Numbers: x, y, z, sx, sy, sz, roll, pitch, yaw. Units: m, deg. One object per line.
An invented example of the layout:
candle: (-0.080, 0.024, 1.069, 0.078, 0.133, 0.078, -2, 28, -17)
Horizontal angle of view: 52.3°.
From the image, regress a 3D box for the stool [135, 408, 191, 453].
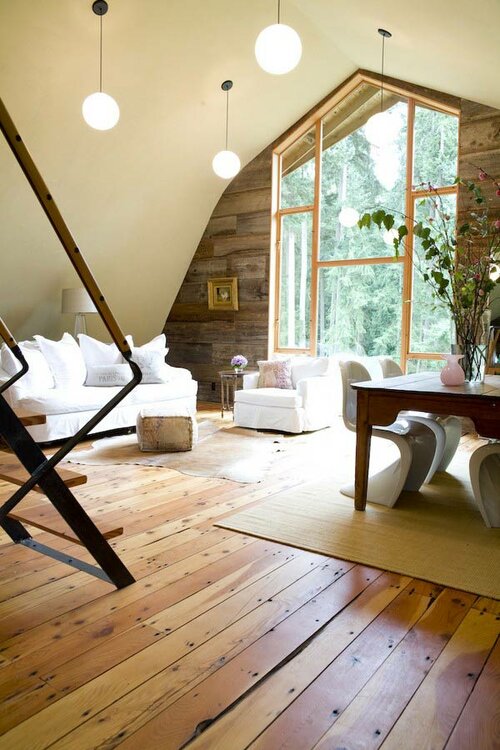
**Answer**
stool: (-0.729, 0.461, 4.316, 0.376, 0.234, 0.376, 1, 1, 18)

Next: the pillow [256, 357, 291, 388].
pillow: (0.279, -0.015, 5.775, 0.394, 0.363, 0.153, 0, -6, 15)

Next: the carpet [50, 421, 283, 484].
carpet: (-0.484, 0.650, 4.421, 1.767, 0.145, 1.602, 1, 9, 20)

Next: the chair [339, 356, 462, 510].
chair: (0.952, 0.399, 3.184, 0.482, 0.795, 0.958, -1, 1, 35)

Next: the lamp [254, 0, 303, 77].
lamp: (0.193, -2.206, 3.419, 0.299, 0.310, 0.255, -2, 9, 2)

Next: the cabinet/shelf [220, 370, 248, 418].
cabinet/shelf: (-0.335, 0.303, 7.339, 0.331, 0.516, 0.339, 8, -8, -4)

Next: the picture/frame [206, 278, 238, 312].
picture/frame: (-0.380, -1.172, 7.392, 0.514, 0.502, 0.040, 4, 7, 31)

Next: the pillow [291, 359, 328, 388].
pillow: (0.674, -0.064, 5.677, 0.333, 0.331, 0.104, 2, -25, 46)

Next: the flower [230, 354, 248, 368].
flower: (-0.146, -0.148, 6.473, 0.181, 0.177, 0.182, 10, 20, 23)

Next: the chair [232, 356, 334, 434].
chair: (0.412, 0.217, 5.611, 0.882, 0.758, 0.898, 4, 11, 37)
